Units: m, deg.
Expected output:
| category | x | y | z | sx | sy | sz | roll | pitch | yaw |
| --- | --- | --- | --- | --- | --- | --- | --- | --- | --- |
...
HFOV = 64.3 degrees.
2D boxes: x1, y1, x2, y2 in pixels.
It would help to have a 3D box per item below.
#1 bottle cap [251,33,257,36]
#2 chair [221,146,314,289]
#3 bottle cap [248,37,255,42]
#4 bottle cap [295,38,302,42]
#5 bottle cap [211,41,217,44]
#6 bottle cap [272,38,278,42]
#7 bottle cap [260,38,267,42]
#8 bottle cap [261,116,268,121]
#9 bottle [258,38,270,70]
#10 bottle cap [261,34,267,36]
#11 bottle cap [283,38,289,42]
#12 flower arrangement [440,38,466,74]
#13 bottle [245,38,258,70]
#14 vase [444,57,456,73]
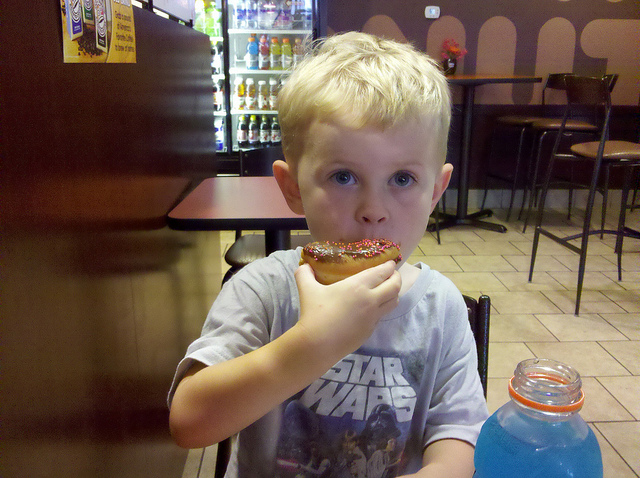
| category | x | y | z | sx | sy | sz | roll | pitch | yaw |
| --- | --- | --- | --- | --- | --- | --- | --- | --- | --- |
| bottle cap | -0.629 | -1.953 | 4.851 | 0.031 | 0.030 | 0.031 | -2 | 21 | -5 |
| chair | -0.278 | 0.000 | 2.430 | 0.362 | 0.680 | 0.436 | 7 | 26 | -19 |
| bottle cap | -0.650 | -1.888 | 4.808 | 0.060 | 0.042 | 0.047 | 2 | 15 | 8 |
| bottle cap | -0.212 | -1.939 | 4.944 | 0.060 | 0.039 | 0.062 | 0 | 5 | -1 |
| bottle cap | -1.003 | -1.877 | 4.848 | 0.055 | 0.023 | 0.047 | -7 | 17 | -24 |
| bottle cap | -0.435 | -1.917 | 4.902 | 0.038 | 0.030 | 0.040 | 0 | 18 | 6 |
| bottle cap | -0.548 | -1.897 | 4.838 | 0.057 | 0.035 | 0.028 | 6 | 16 | 23 |
| bottle cap | -0.559 | -1.227 | 5.177 | 0.052 | 0.051 | 0.051 | -2 | 5 | -9 |
| bottle | -0.536 | -1.781 | 4.887 | 0.107 | 0.284 | 0.074 | -5 | 15 | -16 |
| bottle cap | -0.536 | -1.954 | 4.846 | 0.037 | 0.010 | 0.041 | 0 | 12 | 3 |
| bottle cap | -0.324 | -1.928 | 4.919 | 0.047 | 0.030 | 0.048 | -4 | 17 | -20 |
| flower arrangement | 1.307 | -1.785 | 5.044 | 0.197 | 0.300 | 0.224 | 8 | -3 | 17 |
| bottle | -0.650 | -1.769 | 4.853 | 0.113 | 0.283 | 0.092 | -2 | 15 | -8 |
| vase | 1.264 | -1.707 | 4.985 | 0.132 | 0.139 | 0.135 | -1 | 8 | -4 |
